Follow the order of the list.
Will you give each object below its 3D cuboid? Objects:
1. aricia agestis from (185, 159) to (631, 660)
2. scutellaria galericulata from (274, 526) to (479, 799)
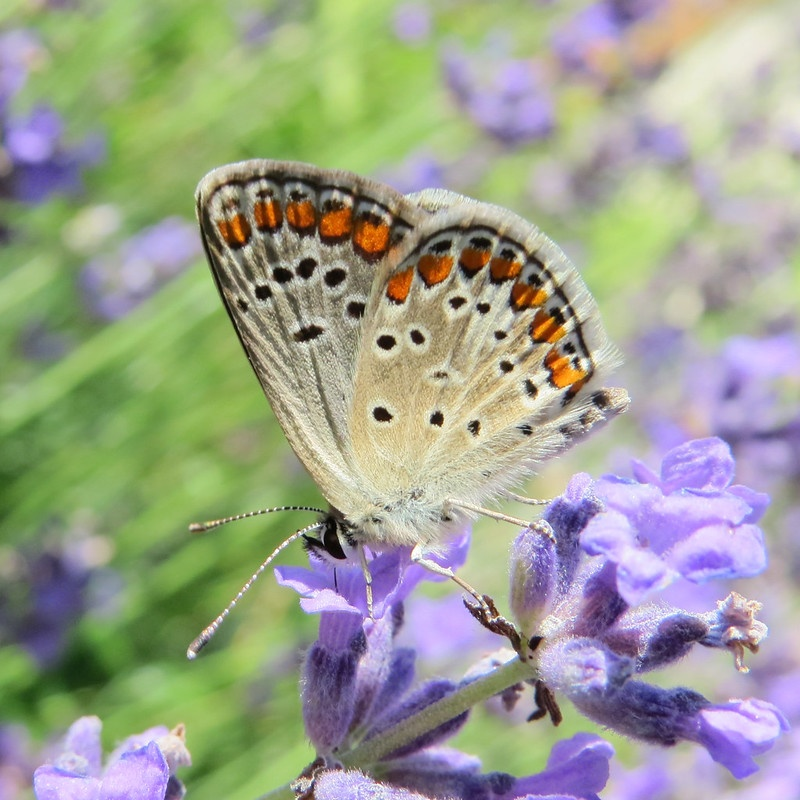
[{"bbox_3d":[-0.104,0.034,2.595,1.088,1.060,0.856,-19,76,-40],"label":"aricia agestis"},{"bbox_3d":[-0.022,0.542,2.310,0.394,0.497,0.510,-6,80,4],"label":"scutellaria galericulata"}]
